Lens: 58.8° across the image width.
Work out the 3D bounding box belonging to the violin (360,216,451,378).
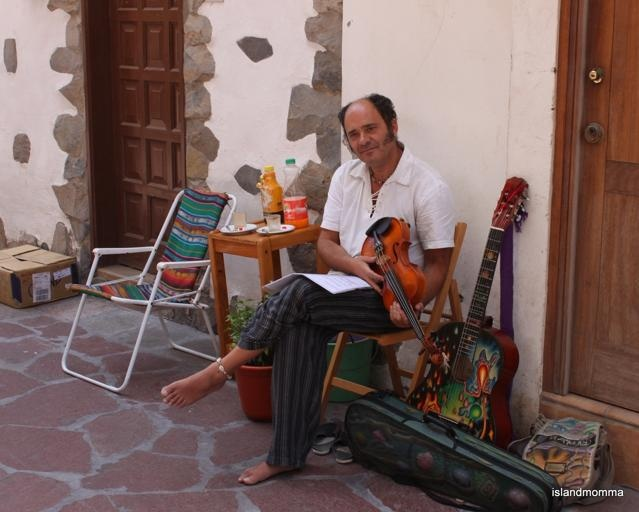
[{"bbox_3d":[0.312,0.114,2.422,0.403,0.549,0.202,13,19,42],"label":"violin"}]

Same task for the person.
[{"bbox_3d":[-0.075,0.374,2.594,0.866,2.055,1.041,4,5,45],"label":"person"}]

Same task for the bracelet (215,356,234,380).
[{"bbox_3d":[-0.407,0.480,2.408,0.060,0.100,0.051,2,14,8],"label":"bracelet"}]

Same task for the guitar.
[{"bbox_3d":[0.692,0.253,2.580,0.507,1.190,0.509,16,21,36],"label":"guitar"}]

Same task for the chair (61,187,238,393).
[{"bbox_3d":[-1.110,0.046,3.687,0.985,1.419,1.015,7,9,42],"label":"chair"}]

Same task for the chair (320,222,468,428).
[{"bbox_3d":[0.363,0.375,2.903,0.576,1.092,0.632,-12,22,-38],"label":"chair"}]

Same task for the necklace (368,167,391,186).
[{"bbox_3d":[0.277,-0.374,2.702,0.072,0.103,0.039,3,51,8],"label":"necklace"}]

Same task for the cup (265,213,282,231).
[{"bbox_3d":[-0.259,-0.184,3.169,0.077,0.084,0.104,1,5,16],"label":"cup"}]
